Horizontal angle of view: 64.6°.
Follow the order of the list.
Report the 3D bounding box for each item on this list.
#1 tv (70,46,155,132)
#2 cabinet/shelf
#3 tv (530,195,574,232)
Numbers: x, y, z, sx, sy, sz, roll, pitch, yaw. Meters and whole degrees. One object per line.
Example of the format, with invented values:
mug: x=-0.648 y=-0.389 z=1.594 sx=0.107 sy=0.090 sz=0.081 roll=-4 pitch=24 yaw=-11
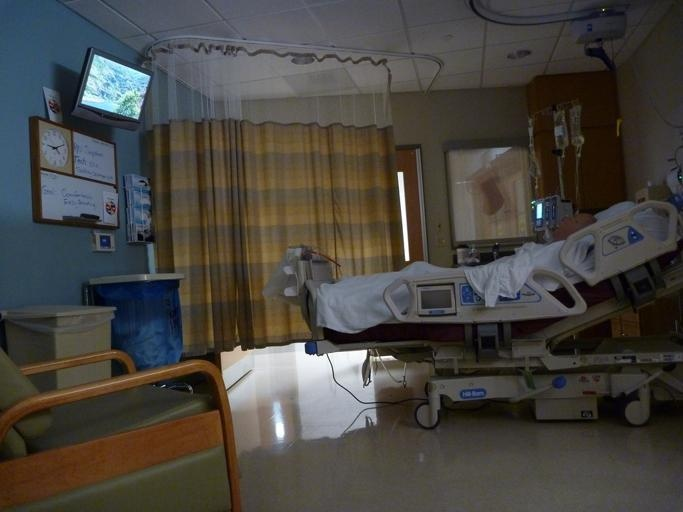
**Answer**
tv: x=-1.725 y=-1.254 z=4.107 sx=0.211 sy=0.525 sz=0.611 roll=0 pitch=7 yaw=29
cabinet/shelf: x=2.270 y=-1.004 z=5.800 sx=0.804 sy=1.251 sz=0.846 roll=-12 pitch=16 yaw=20
tv: x=1.768 y=-0.359 z=4.523 sx=0.213 sy=0.432 sz=0.374 roll=4 pitch=-8 yaw=-19
